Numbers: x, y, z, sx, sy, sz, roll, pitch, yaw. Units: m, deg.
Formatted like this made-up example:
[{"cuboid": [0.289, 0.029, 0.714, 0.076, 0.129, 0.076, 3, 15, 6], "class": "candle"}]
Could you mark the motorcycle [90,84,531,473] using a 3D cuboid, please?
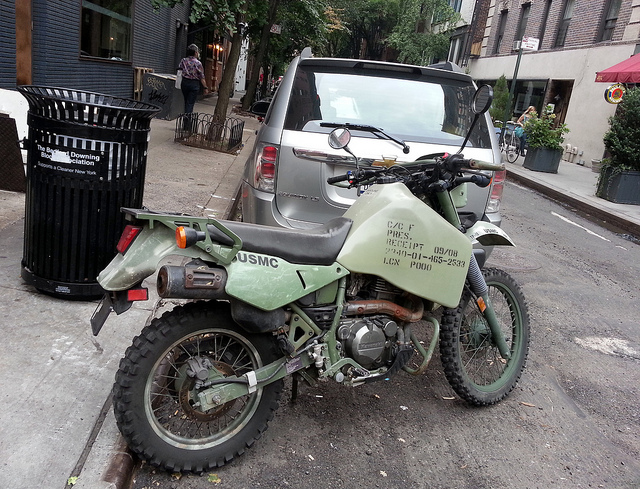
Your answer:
[{"cuboid": [0.183, 0.314, 3.087, 3.021, 2.059, 1.152, -3, 11, -21], "class": "motorcycle"}]

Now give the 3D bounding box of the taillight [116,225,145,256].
[{"cuboid": [-0.990, -0.025, 2.315, 0.046, 0.159, 0.115, 31, 4, -33], "class": "taillight"}]

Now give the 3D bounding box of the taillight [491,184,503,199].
[{"cuboid": [1.809, -0.541, 4.438, 0.128, 0.151, 0.052, 3, 3, -26], "class": "taillight"}]

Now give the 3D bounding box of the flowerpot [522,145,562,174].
[{"cuboid": [9.068, -3.437, 17.840, 1.556, 1.211, 0.947, 2, 14, -21], "class": "flowerpot"}]

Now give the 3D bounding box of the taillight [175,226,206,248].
[{"cuboid": [-0.664, -0.043, 2.238, 0.138, 0.093, 0.089, -1, -20, -25], "class": "taillight"}]
